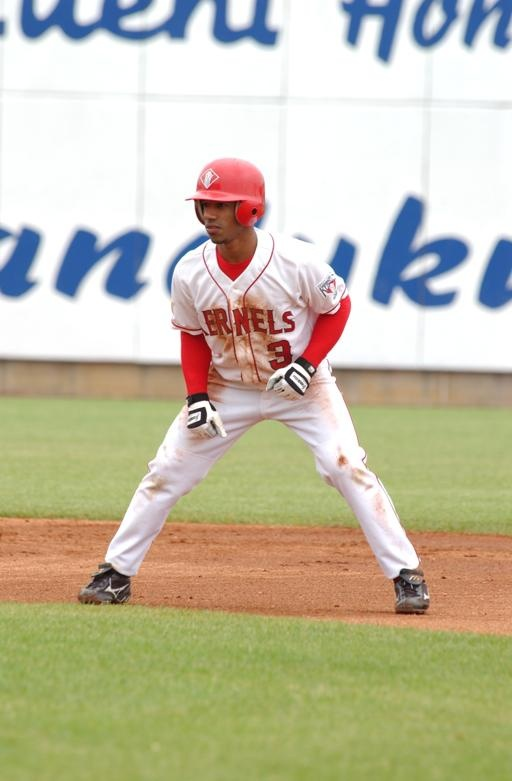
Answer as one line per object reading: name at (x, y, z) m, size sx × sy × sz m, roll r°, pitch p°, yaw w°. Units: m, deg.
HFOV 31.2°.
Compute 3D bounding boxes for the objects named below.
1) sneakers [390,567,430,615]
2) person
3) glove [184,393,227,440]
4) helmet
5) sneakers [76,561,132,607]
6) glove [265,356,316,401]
sneakers at (0.590, 0.768, 3.482) m, size 0.126 × 0.187 × 0.202 m, roll -1°, pitch -1°, yaw -5°
person at (0.012, 0.002, 3.518) m, size 1.250 × 1.718 × 0.428 m, roll 5°, pitch 12°, yaw -1°
glove at (-0.184, 0.098, 3.486) m, size 0.136 × 0.067 × 0.164 m, roll -6°, pitch -35°, yaw 18°
helmet at (-0.103, -0.753, 3.443) m, size 0.335 × 0.216 × 0.274 m, roll -2°, pitch 16°, yaw -22°
sneakers at (-0.575, 0.758, 3.522) m, size 0.225 × 0.135 × 0.120 m, roll 6°, pitch -13°, yaw -39°
glove at (0.159, -0.046, 3.386) m, size 0.136 × 0.149 × 0.218 m, roll 15°, pitch 15°, yaw 42°
